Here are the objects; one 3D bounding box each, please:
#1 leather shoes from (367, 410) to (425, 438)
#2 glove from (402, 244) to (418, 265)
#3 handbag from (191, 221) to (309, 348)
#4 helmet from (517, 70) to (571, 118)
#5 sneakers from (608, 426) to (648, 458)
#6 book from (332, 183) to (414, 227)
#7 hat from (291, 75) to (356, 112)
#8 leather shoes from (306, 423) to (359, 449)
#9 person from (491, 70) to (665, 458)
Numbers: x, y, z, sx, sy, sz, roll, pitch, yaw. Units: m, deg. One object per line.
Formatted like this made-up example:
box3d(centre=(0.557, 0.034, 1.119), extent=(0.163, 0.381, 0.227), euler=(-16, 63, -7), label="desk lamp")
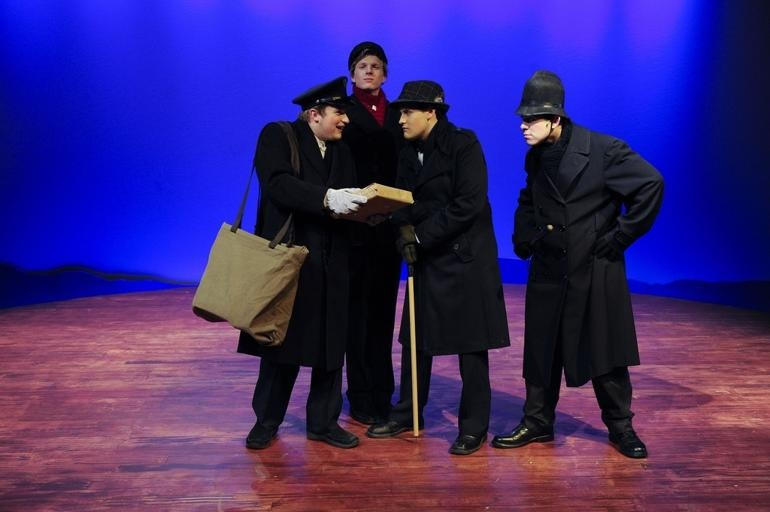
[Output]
box3d(centre=(0.070, 1.164, 4.748), extent=(0.408, 0.157, 0.144), euler=(1, -3, -17), label="leather shoes")
box3d(centre=(0.167, -0.018, 4.509), extent=(0.093, 0.117, 0.055), euler=(-6, 8, 8), label="glove")
box3d(centre=(-0.849, 0.174, 4.302), extent=(0.644, 0.725, 0.306), euler=(6, 12, 17), label="handbag")
box3d(centre=(1.053, -1.076, 4.496), extent=(0.413, 0.284, 0.344), euler=(-5, 22, -27), label="helmet")
box3d(centre=(1.569, 1.203, 4.498), extent=(0.119, 0.122, 0.320), euler=(-10, 5, -16), label="sneakers")
box3d(centre=(0.004, -0.331, 4.281), extent=(0.313, 0.072, 0.319), euler=(12, -24, -36), label="book")
box3d(centre=(-0.414, -1.056, 4.498), extent=(0.393, 0.171, 0.308), euler=(-9, 4, -13), label="hat")
box3d(centre=(-0.318, 1.182, 4.580), extent=(0.372, 0.137, 0.139), euler=(3, 2, 17), label="leather shoes")
box3d(centre=(1.272, 0.039, 4.467), extent=(0.926, 2.442, 0.516), euler=(4, 12, 9), label="person")
